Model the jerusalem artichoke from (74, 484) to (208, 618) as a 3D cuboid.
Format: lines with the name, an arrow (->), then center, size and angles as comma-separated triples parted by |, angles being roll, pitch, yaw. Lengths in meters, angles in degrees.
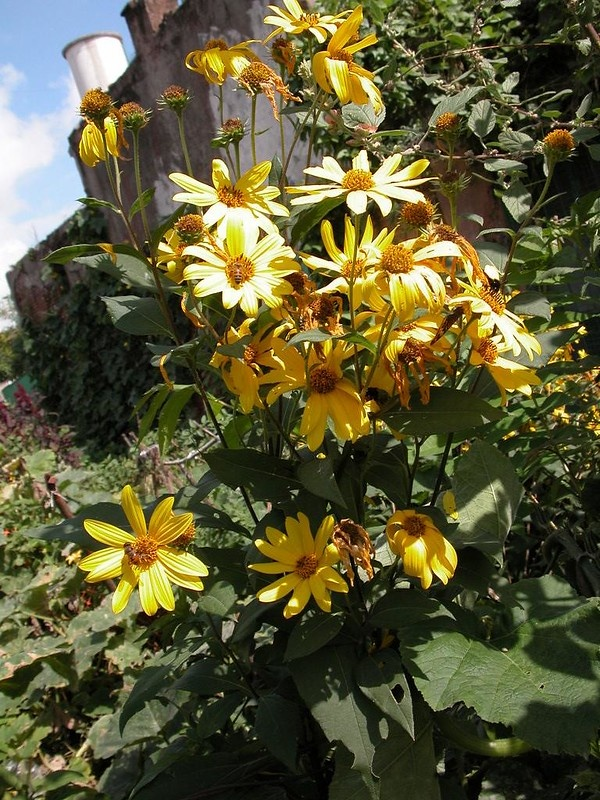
jerusalem artichoke -> -0.156, 0.150, 0.676 | 0.058, 0.156, 0.149 | -32, 54, -25
